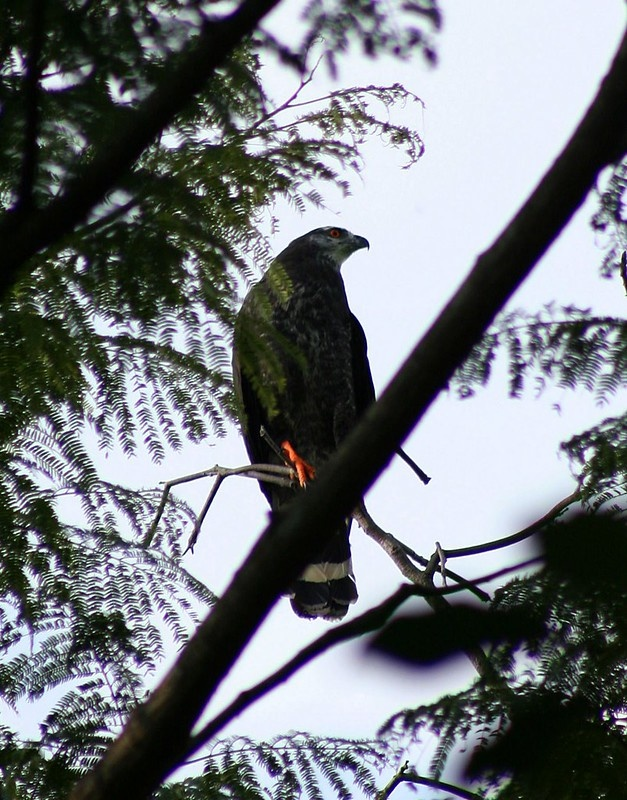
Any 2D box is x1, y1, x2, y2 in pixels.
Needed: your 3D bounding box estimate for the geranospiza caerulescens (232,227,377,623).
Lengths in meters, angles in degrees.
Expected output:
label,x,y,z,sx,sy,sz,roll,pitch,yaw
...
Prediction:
label,x,y,z,sx,sy,sz,roll,pitch,yaw
geranospiza caerulescens,0.063,0.099,6.247,0.591,0.409,1.246,2,-84,20
